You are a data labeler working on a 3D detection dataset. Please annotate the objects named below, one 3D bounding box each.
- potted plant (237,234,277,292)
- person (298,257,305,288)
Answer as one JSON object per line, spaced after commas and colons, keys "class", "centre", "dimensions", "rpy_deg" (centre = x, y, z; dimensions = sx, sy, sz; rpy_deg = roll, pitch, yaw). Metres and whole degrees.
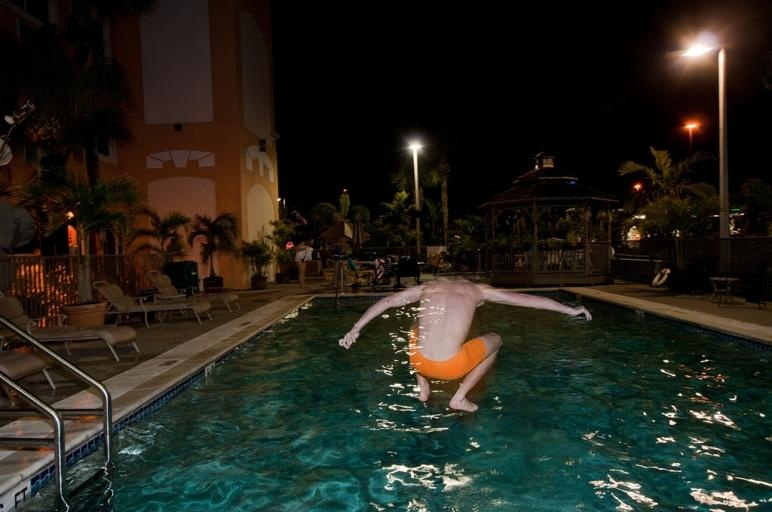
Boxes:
{"class": "potted plant", "centre": [-6.059, 0.364, 23.789], "dimensions": [2.269, 2.828, 2.328], "rpy_deg": [-3, 3, -32]}
{"class": "person", "centre": [-3.821, 0.802, 22.770], "dimensions": [0.260, 1.128, 0.555], "rpy_deg": [-5, 13, -15]}
